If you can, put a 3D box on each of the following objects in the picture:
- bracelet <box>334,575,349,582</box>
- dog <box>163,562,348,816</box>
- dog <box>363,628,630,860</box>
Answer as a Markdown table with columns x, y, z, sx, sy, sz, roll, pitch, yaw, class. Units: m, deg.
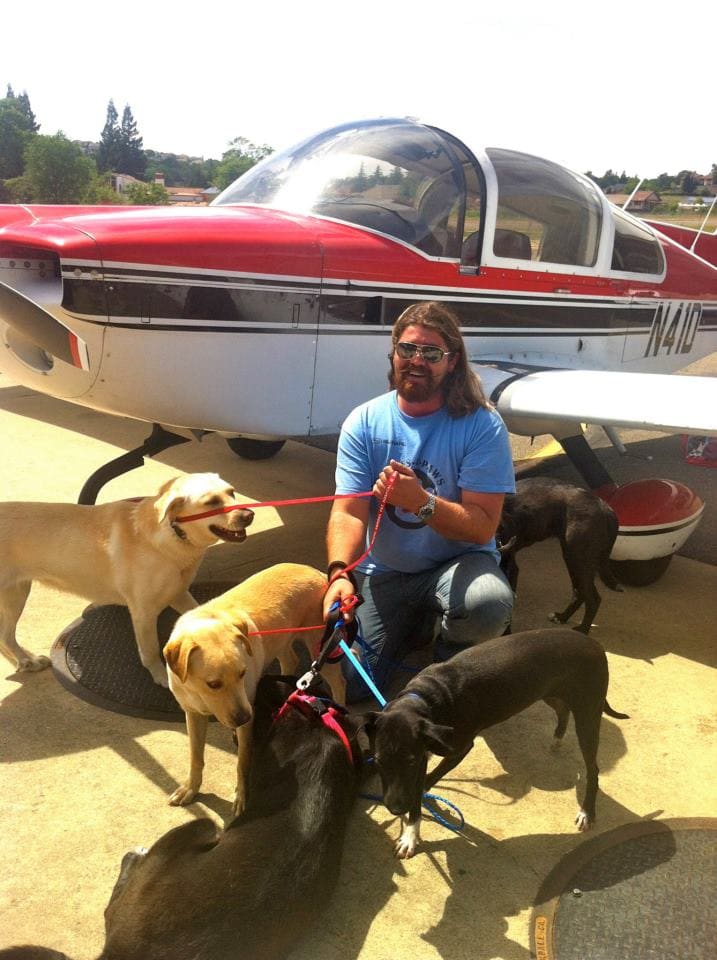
| x | y | z | sx | sy | sz | roll | pitch | yaw | class |
| --- | --- | --- | --- | --- | --- | --- | --- | --- | --- |
| -0.054 | 0.312 | 2.480 | 0.030 | 0.025 | 0.021 | 0 | 1 | -13 | bracelet |
| -0.350 | 0.608 | 2.531 | 0.379 | 0.622 | 1.018 | 2 | 15 | 13 | dog |
| 0.358 | 0.754 | 2.188 | 0.994 | 0.485 | 0.326 | 0 | -1 | -44 | dog |
